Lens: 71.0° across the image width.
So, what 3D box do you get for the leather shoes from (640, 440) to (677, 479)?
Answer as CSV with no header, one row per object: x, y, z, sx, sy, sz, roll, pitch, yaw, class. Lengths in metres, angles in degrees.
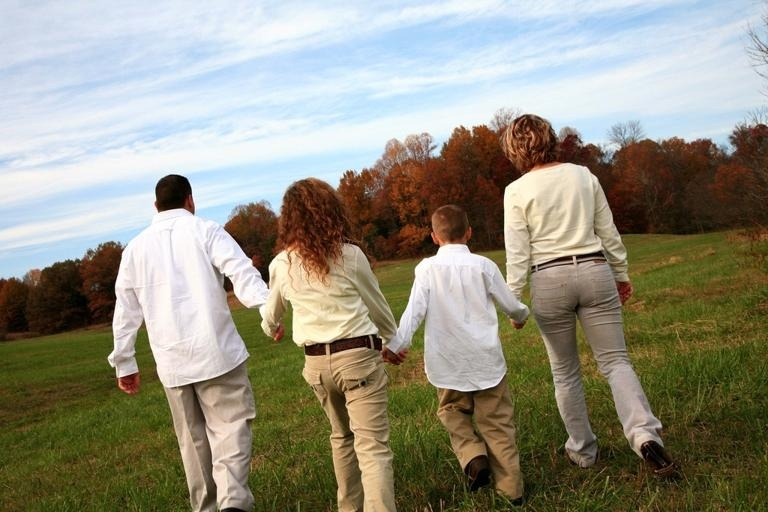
2.631,1.958,5.224,0.251,0.407,0.148,-37,-8,15,leather shoes
